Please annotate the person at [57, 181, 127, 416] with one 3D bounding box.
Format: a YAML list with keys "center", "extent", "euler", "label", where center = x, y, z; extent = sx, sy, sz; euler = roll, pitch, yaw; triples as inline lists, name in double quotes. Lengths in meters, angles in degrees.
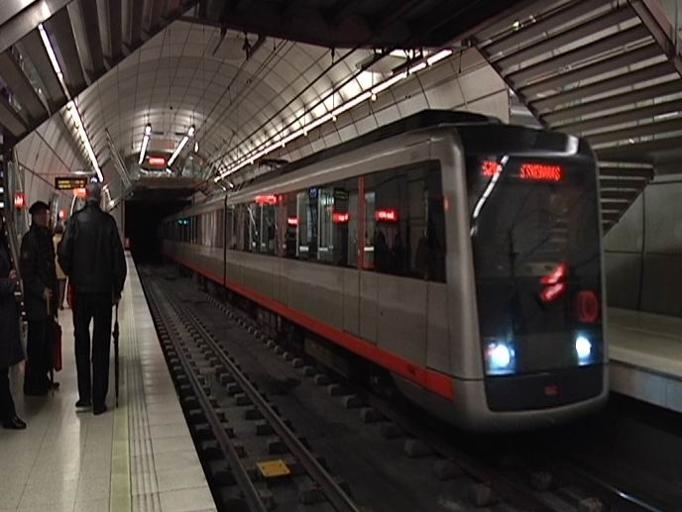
- center: [-3.036, 0.510, 5.644]
  extent: [0.730, 2.824, 0.384]
  euler: [0, 1, -22]
  label: "person"

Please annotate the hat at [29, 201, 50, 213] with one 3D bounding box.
- center: [-4.163, -0.707, 6.368]
  extent: [0.207, 0.167, 0.213]
  euler: [3, -8, -30]
  label: "hat"
